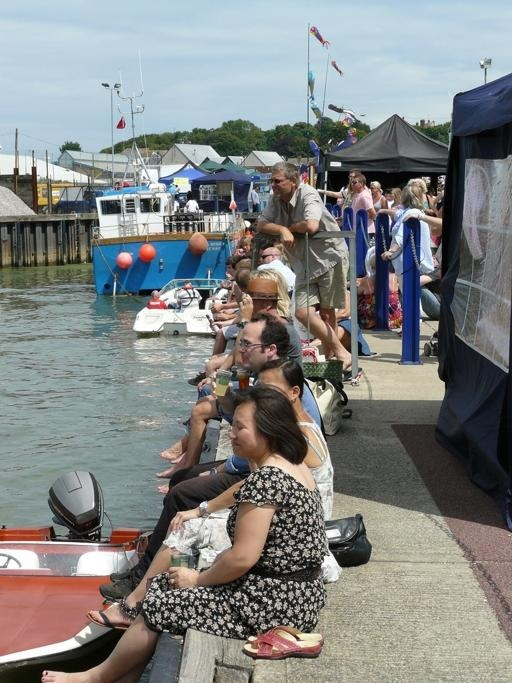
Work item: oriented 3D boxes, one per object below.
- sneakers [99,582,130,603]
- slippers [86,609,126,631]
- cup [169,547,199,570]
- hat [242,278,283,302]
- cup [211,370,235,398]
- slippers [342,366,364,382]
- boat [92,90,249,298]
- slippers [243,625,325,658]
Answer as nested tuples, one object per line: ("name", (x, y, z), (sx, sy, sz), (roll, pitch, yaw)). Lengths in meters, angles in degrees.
("sneakers", (-0.690, 1.240, 3.541), (0.197, 0.076, 0.068), (4, 27, -13))
("slippers", (-0.650, 1.241, 3.201), (0.197, 0.047, 0.079), (16, -4, -11))
("cup", (-0.308, 0.974, 3.145), (0.105, 0.082, 0.112), (3, 7, 0))
("hat", (0.049, -0.358, 4.889), (0.203, 0.094, 0.153), (3, 8, 33))
("cup", (-0.207, 0.297, 4.996), (0.201, 0.246, 0.197), (3, -2, 0))
("slippers", (0.843, 0.285, 6.267), (0.060, 0.084, 0.264), (29, 1, -2))
("boat", (-4.144, -5.752, 31.652), (5.605, 3.166, 9.449), (-2, 23, -6))
("slippers", (0.107, 1.030, 2.441), (0.171, 0.043, 0.124), (1, 1, -4))
